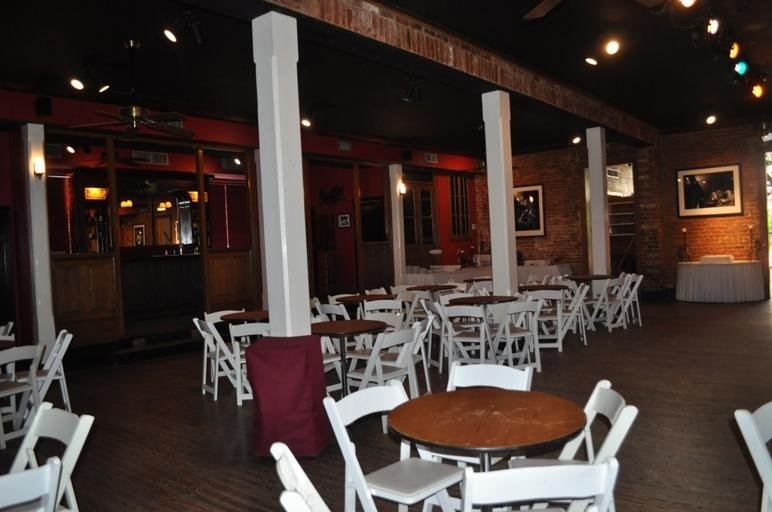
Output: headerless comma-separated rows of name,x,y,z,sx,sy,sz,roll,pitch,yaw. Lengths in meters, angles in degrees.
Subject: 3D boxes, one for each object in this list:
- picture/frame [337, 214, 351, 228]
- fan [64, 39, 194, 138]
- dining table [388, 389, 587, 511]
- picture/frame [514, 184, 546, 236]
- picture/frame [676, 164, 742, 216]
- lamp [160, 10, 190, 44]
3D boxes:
picture/frame,-1.129,-0.967,14.843,0.387,0.345,0.039,-1,-1,41
fan,-3.598,-2.440,7.698,1.449,1.118,1.454,9,14,16
dining table,0.738,1.185,3.953,0.928,0.601,0.928,-2,7,-4
picture/frame,4.236,-1.325,16.129,0.889,1.250,0.120,-4,1,36
picture/frame,8.386,-1.674,14.147,1.602,1.566,0.063,-2,-3,14
lamp,-2.778,-2.975,7.226,0.350,0.387,0.848,-5,1,-22
